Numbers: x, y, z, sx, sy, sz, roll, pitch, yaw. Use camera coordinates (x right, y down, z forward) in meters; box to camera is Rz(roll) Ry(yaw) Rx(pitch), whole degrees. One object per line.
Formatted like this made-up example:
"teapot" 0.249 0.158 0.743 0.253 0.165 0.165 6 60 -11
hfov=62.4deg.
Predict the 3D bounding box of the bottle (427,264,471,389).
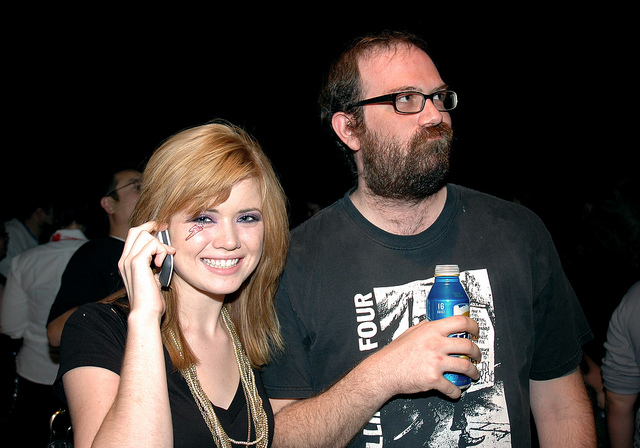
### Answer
"bottle" 0.725 0.585 3.005 0.238 0.715 0.101 -1 4 7

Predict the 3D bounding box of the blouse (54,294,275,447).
"blouse" -0.898 0.884 3.170 0.491 0.896 0.942 -11 -11 35

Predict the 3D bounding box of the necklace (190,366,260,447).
"necklace" -0.598 1.251 3.260 0.097 0.820 0.034 -24 4 24

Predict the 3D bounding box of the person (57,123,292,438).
"person" -0.859 0.335 3.282 1.325 1.955 0.669 -4 5 -40
